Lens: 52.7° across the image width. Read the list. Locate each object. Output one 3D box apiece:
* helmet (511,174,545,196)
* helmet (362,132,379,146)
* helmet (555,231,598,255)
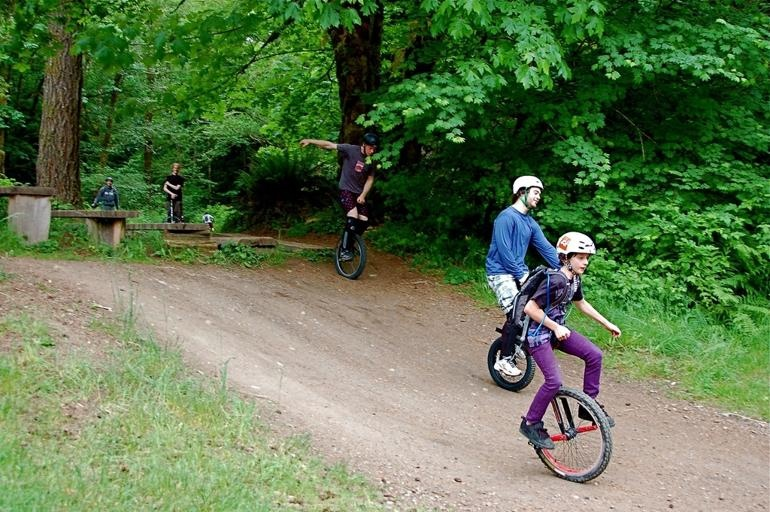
[{"bbox_3d":[1.928,-0.970,10.484,0.454,0.270,0.334,-13,-1,21],"label":"helmet"},{"bbox_3d":[-0.230,-2.098,13.984,0.259,0.210,0.194,2,22,37],"label":"helmet"},{"bbox_3d":[2.295,-0.129,9.304,0.354,0.249,0.277,11,1,30],"label":"helmet"}]
